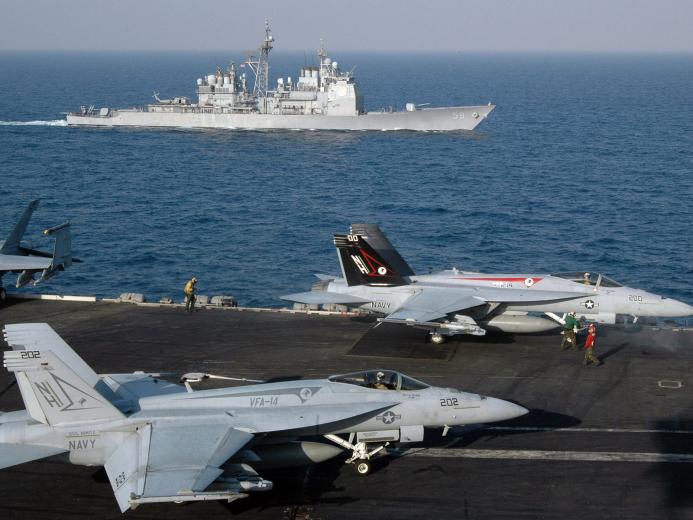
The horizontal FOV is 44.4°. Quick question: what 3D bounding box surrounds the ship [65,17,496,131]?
[{"bbox_3d":[-10.197,-27.393,129.647,57.211,16.221,11.336,3,19,19],"label":"ship"}]
